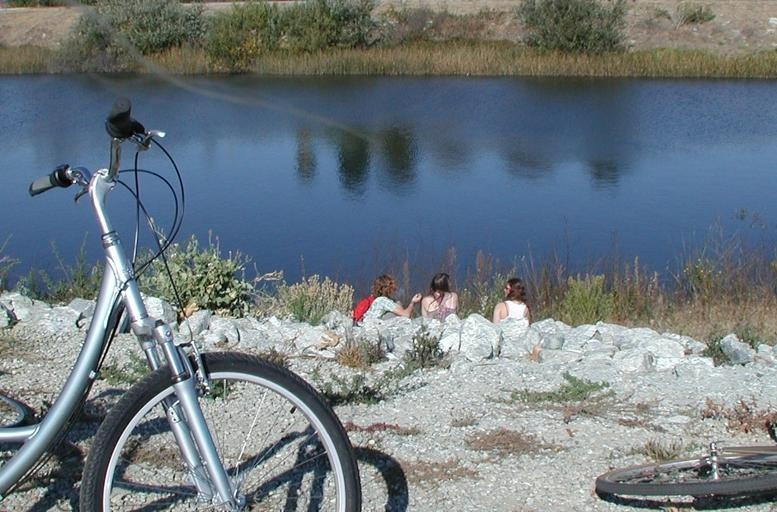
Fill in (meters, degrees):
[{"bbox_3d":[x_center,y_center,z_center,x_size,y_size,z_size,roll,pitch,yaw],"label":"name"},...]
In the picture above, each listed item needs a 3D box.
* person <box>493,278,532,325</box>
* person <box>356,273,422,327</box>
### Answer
[{"bbox_3d":[1.913,0.662,11.269,0.551,0.697,0.764,3,1,12],"label":"person"},{"bbox_3d":[-0.006,0.922,11.693,1.037,1.316,0.556,0,10,-8],"label":"person"}]
